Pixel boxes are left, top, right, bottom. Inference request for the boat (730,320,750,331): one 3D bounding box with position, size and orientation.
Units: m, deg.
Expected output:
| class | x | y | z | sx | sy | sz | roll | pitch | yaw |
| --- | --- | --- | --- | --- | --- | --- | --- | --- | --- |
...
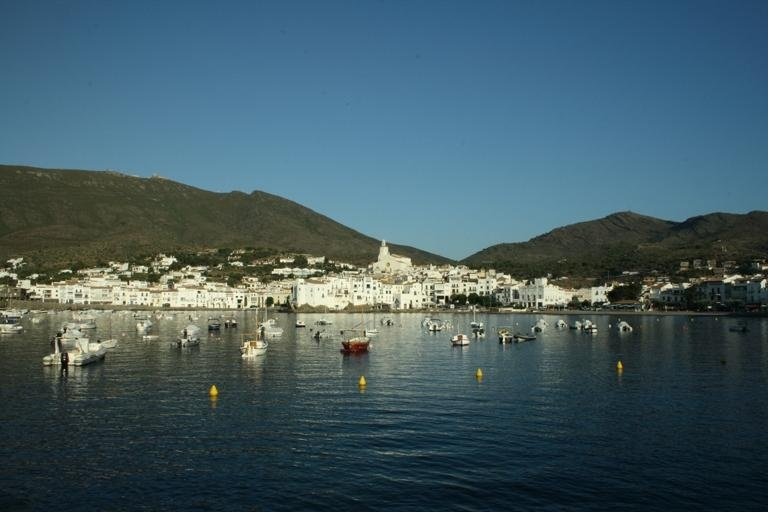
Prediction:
| class | x | y | z | sx | sy | sz | roll | pitch | yaw |
| --- | --- | --- | --- | --- | --- | --- | --- | --- | --- |
| boat | 60.796 | 12.015 | 123.936 | 1.552 | 0.766 | 6.036 | 1 | 1 | 18 |
